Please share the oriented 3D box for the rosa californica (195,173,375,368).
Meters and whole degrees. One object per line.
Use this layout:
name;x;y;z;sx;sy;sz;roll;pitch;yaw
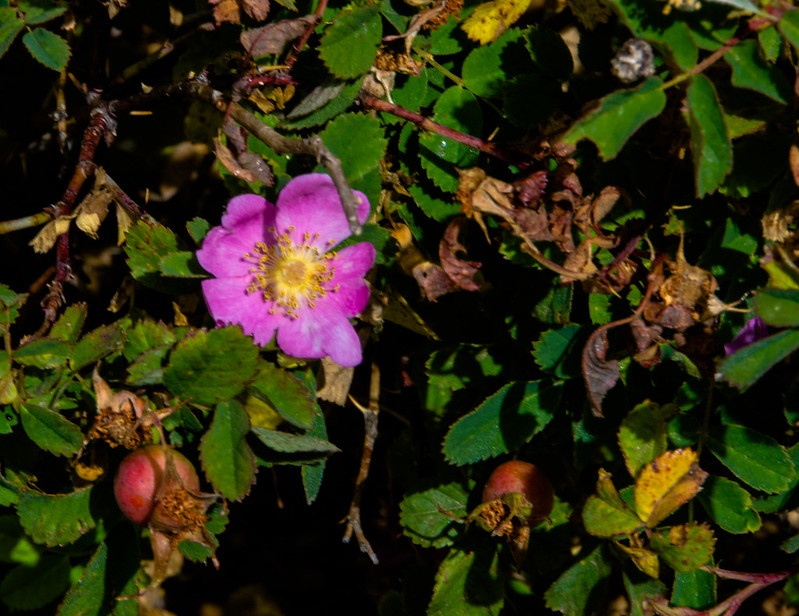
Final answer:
rosa californica;-0.184;-0.069;1.444;0.275;0.109;0.326;-6;65;-7
